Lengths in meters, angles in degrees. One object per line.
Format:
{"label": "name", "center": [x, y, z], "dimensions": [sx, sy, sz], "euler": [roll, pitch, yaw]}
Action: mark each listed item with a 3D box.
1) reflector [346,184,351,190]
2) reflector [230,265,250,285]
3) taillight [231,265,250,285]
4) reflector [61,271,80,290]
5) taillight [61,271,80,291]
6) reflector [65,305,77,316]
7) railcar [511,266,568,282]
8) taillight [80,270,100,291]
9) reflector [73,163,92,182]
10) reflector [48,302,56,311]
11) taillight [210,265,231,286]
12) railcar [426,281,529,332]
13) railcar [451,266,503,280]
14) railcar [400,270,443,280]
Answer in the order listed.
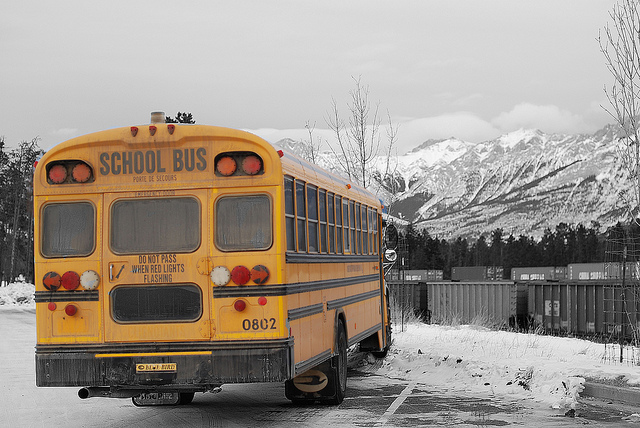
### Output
{"label": "reflector", "center": [0.595, -0.547, 13.494], "dimensions": [0.060, 0.082, 0.074], "euler": [4, -40, -4]}
{"label": "reflector", "center": [-1.123, 0.859, 9.518], "dimensions": [0.238, 0.256, 0.060], "euler": [-3, -2, 7]}
{"label": "taillight", "center": [-1.126, 0.861, 9.518], "dimensions": [0.237, 0.256, 0.060], "euler": [-3, -3, 9]}
{"label": "reflector", "center": [-3.620, 0.964, 9.790], "dimensions": [0.234, 0.250, 0.060], "euler": [-3, -4, -2]}
{"label": "taillight", "center": [-3.620, 0.968, 9.790], "dimensions": [0.244, 0.261, 0.061], "euler": [-1, -5, -2]}
{"label": "reflector", "center": [-3.610, 1.390, 9.749], "dimensions": [0.164, 0.154, 0.038], "euler": [-3, -2, 11]}
{"label": "railcar", "center": [15.829, 4.270, 48.519], "dimensions": [2.362, 0.842, 8.018], "euler": [-2, -3, 4]}
{"label": "taillight", "center": [-3.339, 0.965, 9.778], "dimensions": [0.291, 0.289, 0.060], "euler": [-3, -2, 15]}
{"label": "reflector", "center": [-3.498, -0.600, 9.969], "dimensions": [0.239, 0.258, 0.058], "euler": [-1, 2, 0]}
{"label": "reflector", "center": [-3.890, 1.342, 9.787], "dimensions": [0.113, 0.139, 0.018], "euler": [-3, -4, -5]}
{"label": "taillight", "center": [-1.404, 0.869, 9.558], "dimensions": [0.285, 0.291, 0.090], "euler": [-2, -2, -10]}
{"label": "railcar", "center": [8.149, 4.339, 34.471], "dimensions": [5.463, 2.112, 1.758], "euler": [-4, 4, 27]}
{"label": "railcar", "center": [13.062, 4.926, 55.989], "dimensions": [3.710, 1.093, 8.211], "euler": [-3, -3, 11]}
{"label": "railcar", "center": [9.260, 5.346, 59.922], "dimensions": [3.156, 0.989, 16.768], "euler": [-3, -3, 9]}
